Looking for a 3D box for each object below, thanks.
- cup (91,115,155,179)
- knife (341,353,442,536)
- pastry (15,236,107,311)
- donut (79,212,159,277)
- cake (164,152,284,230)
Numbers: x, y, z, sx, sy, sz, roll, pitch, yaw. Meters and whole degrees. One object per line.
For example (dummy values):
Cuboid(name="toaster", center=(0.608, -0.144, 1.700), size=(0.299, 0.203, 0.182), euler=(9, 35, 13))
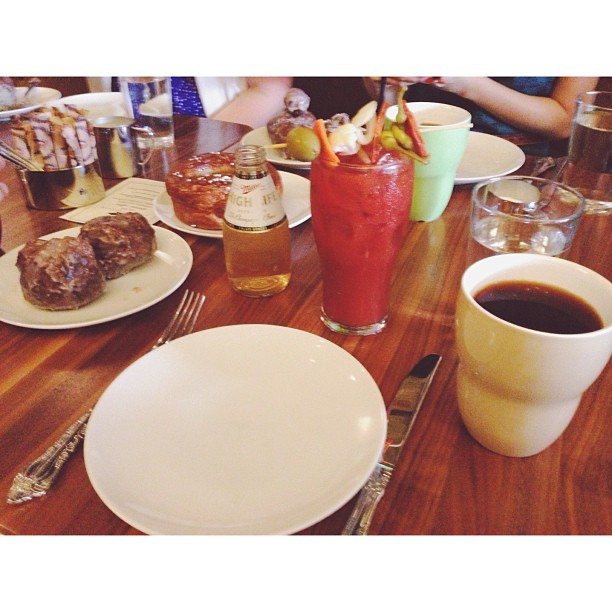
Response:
Cuboid(name="cup", center=(-0.433, -0.368, 1.414), size=(0.197, 0.110, 0.105), euler=(-6, 18, -31))
Cuboid(name="knife", center=(0.138, 0.141, 0.755), size=(0.051, 0.017, 0.364), euler=(26, 45, 21))
Cuboid(name="pastry", center=(-0.388, -0.052, 0.930), size=(0.122, 0.084, 0.119), euler=(-5, 34, -3))
Cuboid(name="donut", center=(-0.318, -0.115, 0.996), size=(0.128, 0.033, 0.124), euler=(30, 45, 20))
Cuboid(name="cake", center=(-0.194, -0.227, 1.194), size=(0.246, 0.051, 0.205), euler=(8, 34, 9))
